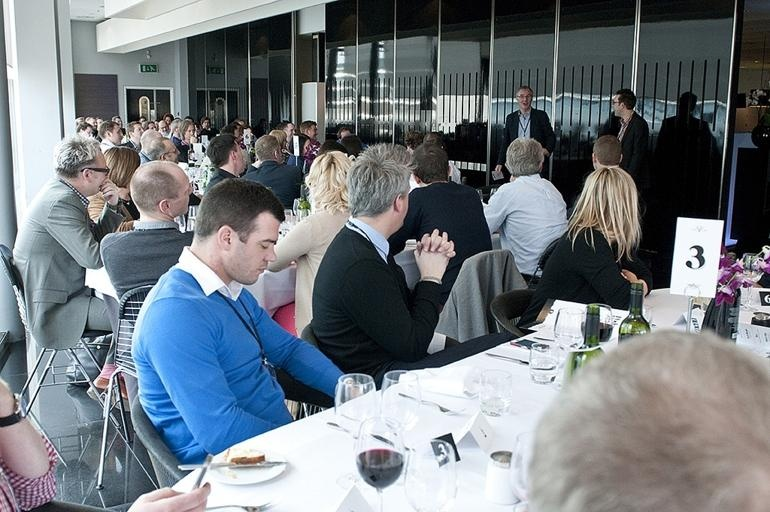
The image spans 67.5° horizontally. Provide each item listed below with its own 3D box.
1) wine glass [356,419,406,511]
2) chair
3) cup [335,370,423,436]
[{"bbox_3d":[-0.012,0.466,1.369,0.115,0.202,0.079,-13,1,-6],"label":"wine glass"},{"bbox_3d":[-0.396,0.323,2.335,1.340,0.637,0.932,-5,7,-35],"label":"chair"},{"bbox_3d":[-0.016,0.435,1.722,0.254,0.193,0.156,0,-1,-13],"label":"cup"}]
